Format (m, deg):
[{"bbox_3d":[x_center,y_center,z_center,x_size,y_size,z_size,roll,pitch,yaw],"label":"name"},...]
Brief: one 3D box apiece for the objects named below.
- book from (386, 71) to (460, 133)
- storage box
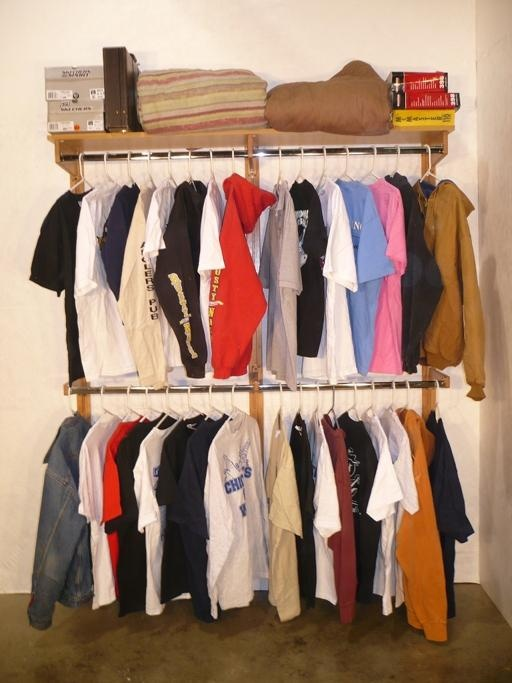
[{"bbox_3d":[0.648,-0.937,2.753,0.168,0.310,0.071,-1,3,-3],"label":"book"},{"bbox_3d":[-0.714,-0.940,2.821,0.208,0.343,0.208,-1,15,-3],"label":"storage box"}]
